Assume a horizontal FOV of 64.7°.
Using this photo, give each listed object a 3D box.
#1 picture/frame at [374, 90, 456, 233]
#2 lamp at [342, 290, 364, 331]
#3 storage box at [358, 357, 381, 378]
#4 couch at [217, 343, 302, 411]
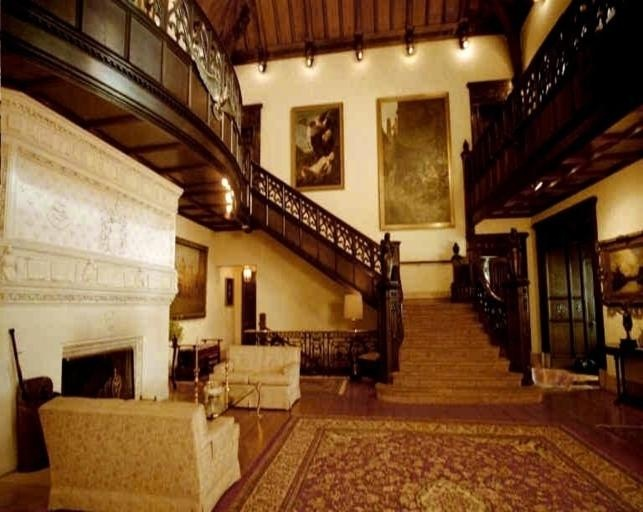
[{"bbox_3d":[2.260,-2.265,12.165,1.671,3.161,0.760,1,6,4],"label":"picture/frame"},{"bbox_3d":[0.703,1.191,10.902,0.420,1.060,1.733,1,7,4],"label":"lamp"},{"bbox_3d":[0.918,2.148,9.779,0.343,0.468,0.492,-1,-25,6],"label":"storage box"},{"bbox_3d":[-1.050,1.983,8.373,1.270,1.112,1.195,-1,-12,3],"label":"couch"}]
